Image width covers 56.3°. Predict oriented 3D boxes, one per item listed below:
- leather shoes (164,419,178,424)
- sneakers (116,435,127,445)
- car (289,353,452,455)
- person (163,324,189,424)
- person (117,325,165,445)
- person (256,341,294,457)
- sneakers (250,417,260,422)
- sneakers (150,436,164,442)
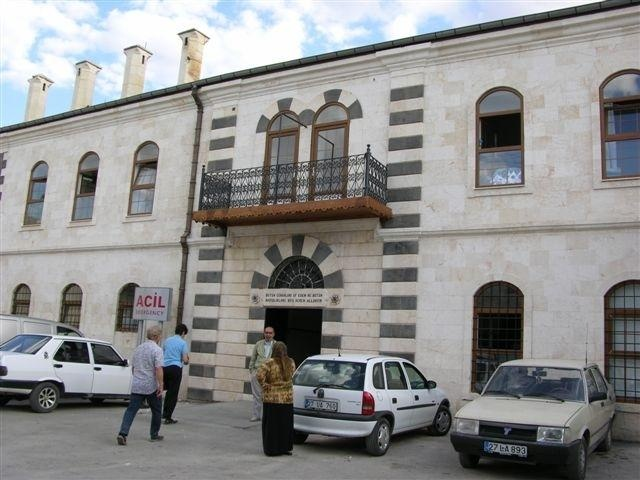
[{"bbox_3d":[-3.499,4.262,14.100,0.376,0.139,0.213,11,-15,-37],"label":"leather shoes"},{"bbox_3d":[-3.848,3.882,11.607,0.121,0.119,0.271,1,-27,1],"label":"sneakers"},{"bbox_3d":[1.187,3.432,12.642,3.543,1.959,1.358,10,-14,-35],"label":"car"},{"bbox_3d":[-3.504,3.190,14.399,0.553,2.349,1.115,5,-12,-12],"label":"person"},{"bbox_3d":[-3.533,2.919,12.132,0.840,2.326,0.710,5,-12,-11],"label":"person"},{"bbox_3d":[-0.860,3.081,11.651,0.735,2.141,0.332,3,-12,-6],"label":"person"},{"bbox_3d":[-1.592,4.431,14.748,0.080,0.082,0.217,-14,-22,40],"label":"sneakers"},{"bbox_3d":[-3.316,4.029,12.173,0.270,0.107,0.097,2,-3,-25],"label":"sneakers"}]
